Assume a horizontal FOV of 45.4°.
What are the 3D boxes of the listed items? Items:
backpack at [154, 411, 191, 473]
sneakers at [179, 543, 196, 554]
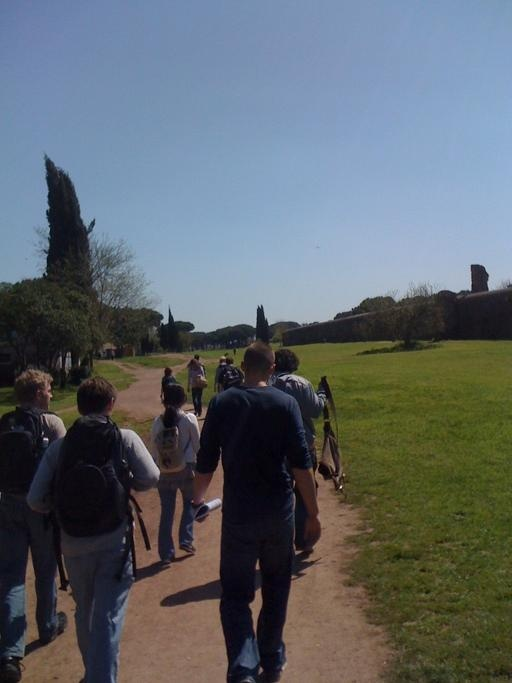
[{"bbox_3d":[-0.792,0.948,5.761,0.339,0.702,0.363,-2,-19,-1],"label":"backpack"},{"bbox_3d":[-0.690,2.063,6.099,0.177,0.089,0.065,29,-3,10],"label":"sneakers"}]
